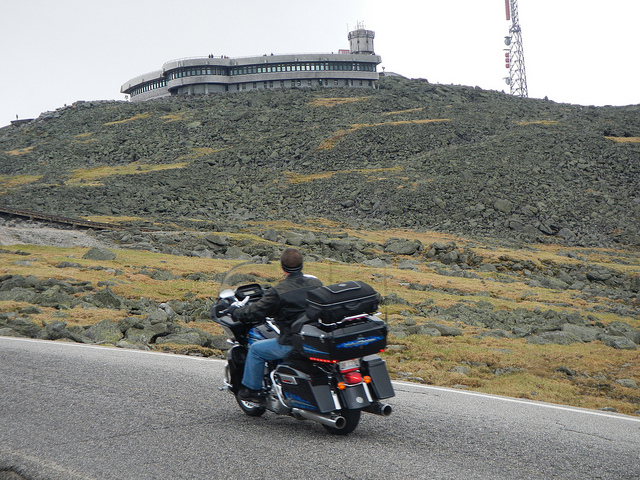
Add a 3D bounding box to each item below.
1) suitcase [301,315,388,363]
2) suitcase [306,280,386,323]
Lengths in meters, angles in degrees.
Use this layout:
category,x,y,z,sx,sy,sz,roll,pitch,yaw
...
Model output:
category,x,y,z,sx,sy,sz,roll,pitch,yaw
suitcase,0.298,1.308,7.829,0.881,0.386,1.116,2,4,42
suitcase,0.176,0.871,8.262,0.893,0.497,1.188,22,-32,-33
